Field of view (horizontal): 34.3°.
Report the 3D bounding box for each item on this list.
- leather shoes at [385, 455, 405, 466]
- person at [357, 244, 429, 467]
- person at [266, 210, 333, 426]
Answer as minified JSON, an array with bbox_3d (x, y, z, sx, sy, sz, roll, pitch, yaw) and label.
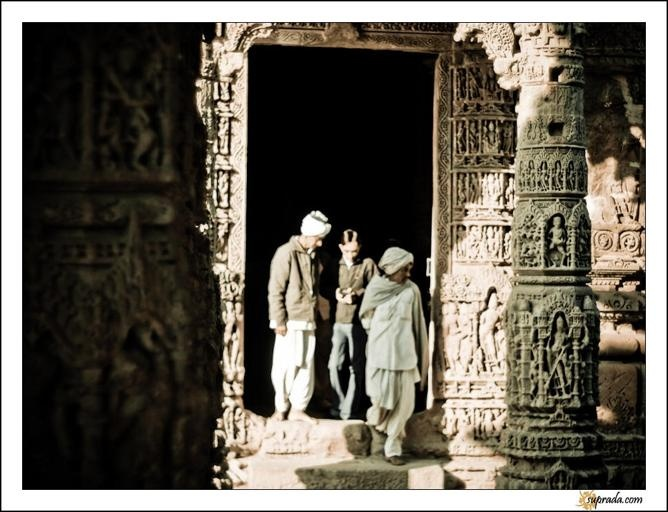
[{"bbox_3d":[0.486,1.630,8.675,0.063,0.087,0.187,7,-15,-27],"label":"leather shoes"},{"bbox_3d":[0.467,0.845,8.698,0.548,1.604,0.338,1,-5,1],"label":"person"},{"bbox_3d":[-0.316,0.481,8.994,0.502,1.735,0.250,4,-6,-28],"label":"person"}]
